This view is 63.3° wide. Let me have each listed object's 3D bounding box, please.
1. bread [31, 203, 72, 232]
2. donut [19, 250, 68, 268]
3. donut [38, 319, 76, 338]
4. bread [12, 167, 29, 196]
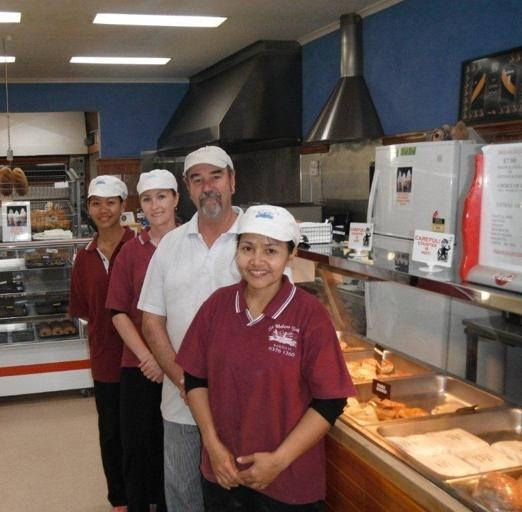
[{"bbox_3d":[-1.908,-0.341,3.845,0.281,0.177,0.258,0,9,-6],"label":"bread"},{"bbox_3d":[-1.888,0.026,3.732,0.284,0.159,0.181,0,13,-13],"label":"donut"},{"bbox_3d":[-1.777,0.641,3.723,0.207,0.063,0.190,-1,13,-3],"label":"donut"},{"bbox_3d":[-2.179,-0.680,3.857,0.127,0.285,0.288,-1,2,-30],"label":"bread"}]
